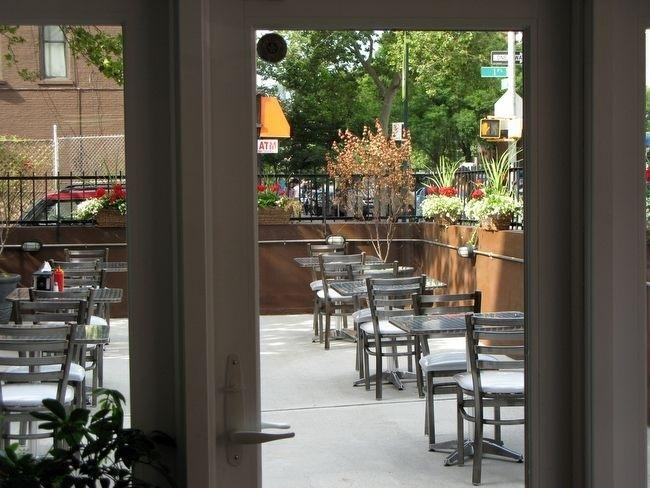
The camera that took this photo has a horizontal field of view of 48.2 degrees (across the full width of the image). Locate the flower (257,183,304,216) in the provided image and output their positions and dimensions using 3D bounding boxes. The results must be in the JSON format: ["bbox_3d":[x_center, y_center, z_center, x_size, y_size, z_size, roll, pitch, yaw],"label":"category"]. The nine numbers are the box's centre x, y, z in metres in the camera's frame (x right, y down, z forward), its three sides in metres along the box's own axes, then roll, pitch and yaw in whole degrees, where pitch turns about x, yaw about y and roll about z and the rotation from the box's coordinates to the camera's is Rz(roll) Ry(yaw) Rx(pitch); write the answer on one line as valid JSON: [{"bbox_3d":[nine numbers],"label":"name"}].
[{"bbox_3d":[-0.705,-0.658,10.225,0.696,0.384,0.683,5,8,-43],"label":"flower"}]

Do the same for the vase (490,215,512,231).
[{"bbox_3d":[1.729,-0.210,7.194,0.142,0.115,0.149,1,0,-19],"label":"vase"}]

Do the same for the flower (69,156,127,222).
[{"bbox_3d":[-3.077,-0.647,9.674,0.705,0.648,1.944,-1,5,-20],"label":"flower"}]

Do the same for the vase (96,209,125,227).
[{"bbox_3d":[-2.733,-0.350,9.350,0.479,0.246,0.218,4,6,33],"label":"vase"}]

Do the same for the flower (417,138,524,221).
[{"bbox_3d":[1.629,-0.639,8.018,0.638,0.824,1.340,1,-1,-7],"label":"flower"}]

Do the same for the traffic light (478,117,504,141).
[{"bbox_3d":[1.858,-1.353,8.163,0.246,0.296,0.277,1,-2,10],"label":"traffic light"}]
